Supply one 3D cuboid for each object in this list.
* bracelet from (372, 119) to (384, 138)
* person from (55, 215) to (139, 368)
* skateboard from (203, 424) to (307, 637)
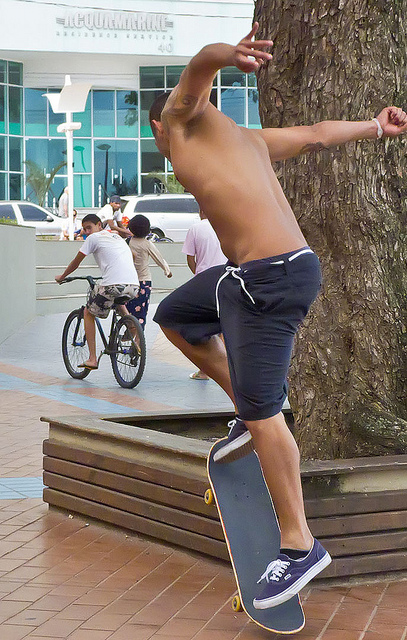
[{"bbox_3d":[0.670,-0.736,2.518,0.028,0.065,0.047,-3,3,43],"label":"bracelet"},{"bbox_3d":[-1.278,-0.273,8.454,0.852,1.422,0.529,-4,3,20],"label":"person"},{"bbox_3d":[0.145,0.687,2.408,0.224,0.844,0.120,-14,-30,-22],"label":"skateboard"}]
